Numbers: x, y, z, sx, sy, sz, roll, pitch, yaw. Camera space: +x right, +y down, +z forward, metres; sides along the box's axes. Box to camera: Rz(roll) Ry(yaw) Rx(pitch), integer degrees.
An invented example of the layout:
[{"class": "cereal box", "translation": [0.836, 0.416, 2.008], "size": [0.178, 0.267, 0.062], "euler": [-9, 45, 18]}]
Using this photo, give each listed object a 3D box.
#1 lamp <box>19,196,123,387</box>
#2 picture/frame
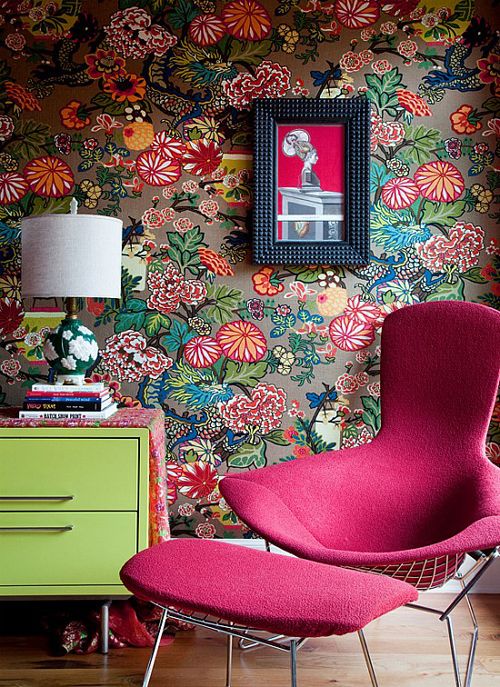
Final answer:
[{"class": "lamp", "translation": [-0.508, -0.150, 1.888], "size": [0.250, 0.536, 0.271], "euler": [2, 15, 35]}, {"class": "picture/frame", "translation": [0.207, -0.537, 2.128], "size": [0.415, 0.560, 0.161], "euler": [-4, 13, 9]}]
